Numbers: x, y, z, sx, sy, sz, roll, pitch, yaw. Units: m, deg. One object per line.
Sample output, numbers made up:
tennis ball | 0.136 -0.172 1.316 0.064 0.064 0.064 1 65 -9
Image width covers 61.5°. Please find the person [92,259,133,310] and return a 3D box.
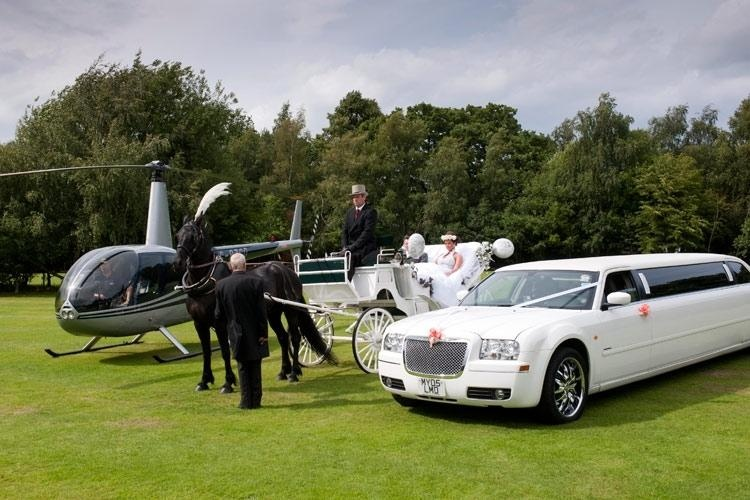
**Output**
person | -6.268 0.843 15.217 0.749 1.110 1.072 2 1 6

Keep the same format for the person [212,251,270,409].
person | -2.340 1.606 11.194 0.848 2.342 0.538 -1 6 2

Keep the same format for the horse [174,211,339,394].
horse | -2.487 1.221 13.567 1.089 3.351 4.961 -1 -4 33

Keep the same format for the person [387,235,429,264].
person | 0.843 -0.027 14.569 0.621 0.349 0.868 2 -4 -6

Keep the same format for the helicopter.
helicopter | -5.837 0.945 18.813 6.190 4.806 8.508 0 -1 21

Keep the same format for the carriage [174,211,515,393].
carriage | -0.560 1.076 14.375 7.828 3.327 2.993 2 -5 -40
